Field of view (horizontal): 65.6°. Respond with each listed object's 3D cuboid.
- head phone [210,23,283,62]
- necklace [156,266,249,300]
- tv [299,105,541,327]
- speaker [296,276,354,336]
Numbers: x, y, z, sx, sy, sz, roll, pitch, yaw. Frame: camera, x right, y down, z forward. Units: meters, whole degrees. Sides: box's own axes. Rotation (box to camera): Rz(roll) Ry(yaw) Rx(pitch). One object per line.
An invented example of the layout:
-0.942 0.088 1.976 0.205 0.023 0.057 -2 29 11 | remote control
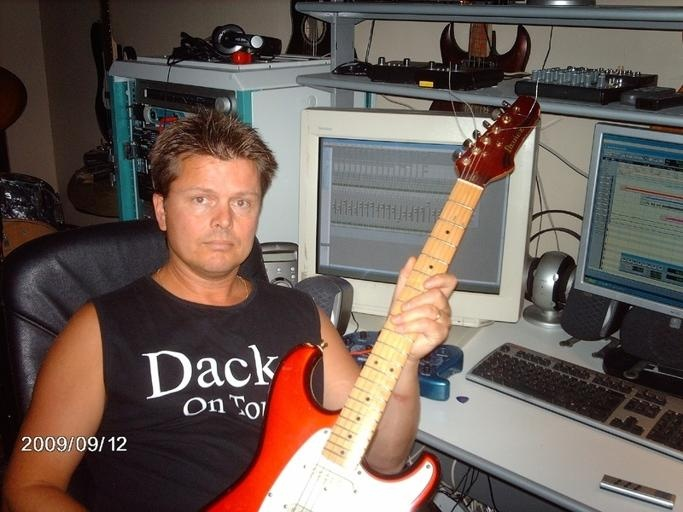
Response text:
-0.335 -0.806 2.007 0.271 0.123 0.164 -15 25 -40 | head phone
-0.364 0.082 1.361 0.162 0.038 0.118 5 -9 14 | necklace
0.265 -0.162 1.846 0.748 0.690 0.404 6 17 23 | tv
-0.052 0.142 1.554 0.161 0.219 0.123 3 -10 30 | speaker
